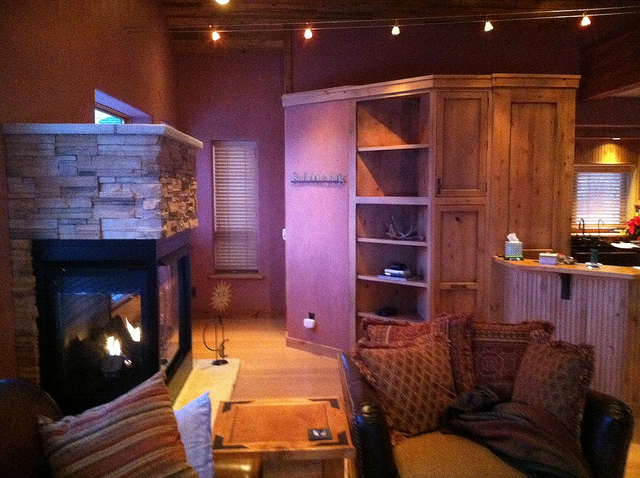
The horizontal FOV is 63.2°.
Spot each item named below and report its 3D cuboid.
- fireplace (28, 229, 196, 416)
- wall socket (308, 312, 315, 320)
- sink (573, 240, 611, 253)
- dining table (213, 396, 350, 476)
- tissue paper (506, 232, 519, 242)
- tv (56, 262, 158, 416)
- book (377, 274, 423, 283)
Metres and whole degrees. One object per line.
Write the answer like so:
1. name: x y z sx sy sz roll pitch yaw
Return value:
1. fireplace: -1.416 0.652 3.979 0.771 1.402 1.218 9 8 27
2. wall socket: -0.098 0.862 5.798 0.079 0.068 0.026 -1 -3 34
3. sink: 3.581 0.091 6.853 0.448 0.136 0.738 8 7 25
4. dining table: -0.211 0.963 3.054 0.641 0.605 0.453 0 9 1
5. tissue paper: 1.794 -0.016 4.828 0.067 0.101 0.111 0 -11 22
6. tv: -1.585 0.565 4.058 0.849 1.398 0.830 0 13 -17
7. book: 0.820 0.395 5.263 0.437 0.067 0.249 5 7 1
